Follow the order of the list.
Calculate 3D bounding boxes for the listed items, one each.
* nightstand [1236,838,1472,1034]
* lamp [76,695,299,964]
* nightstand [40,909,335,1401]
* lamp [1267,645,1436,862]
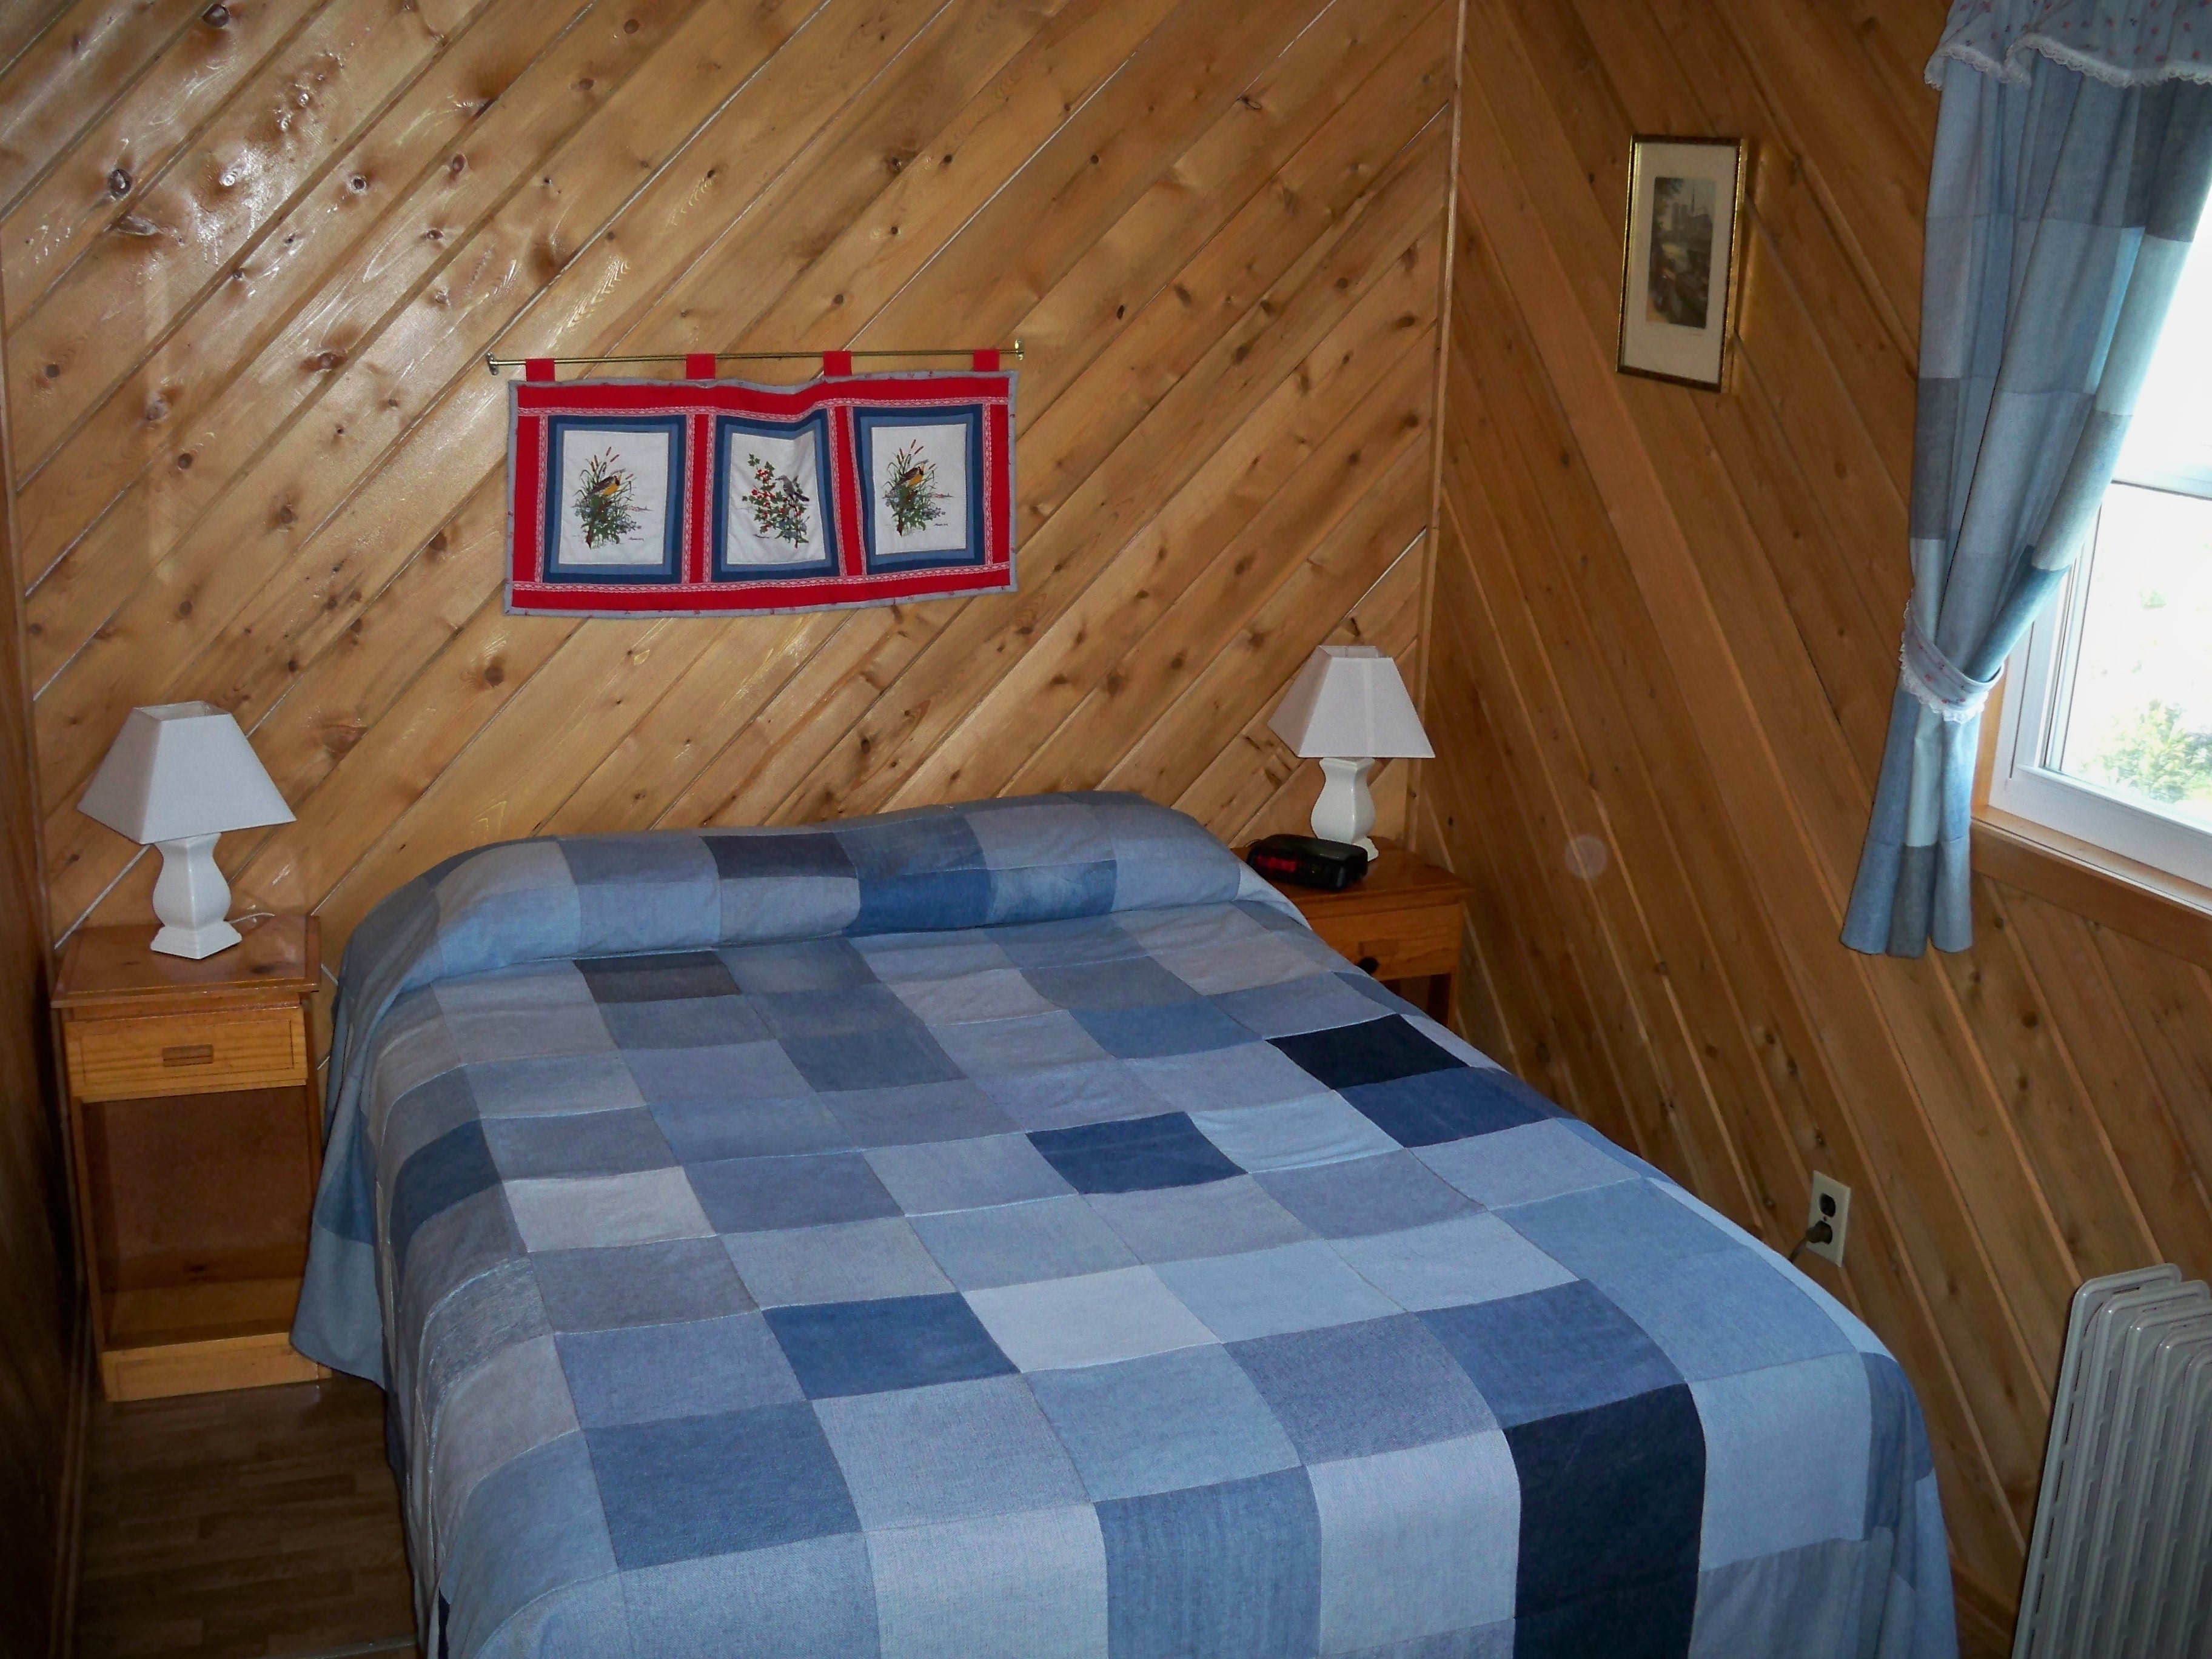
[{"bbox_3d":[0.540,0.323,4.741,0.483,0.509,0.435,-5,23,-21],"label":"nightstand"},{"bbox_3d":[-1.826,0.001,3.896,0.326,0.471,0.334,8,18,21],"label":"lamp"},{"bbox_3d":[-1.792,0.655,3.905,0.491,0.922,0.449,-4,5,-24],"label":"nightstand"},{"bbox_3d":[0.553,-0.130,4.576,0.247,0.294,0.237,7,-15,-42],"label":"lamp"}]
